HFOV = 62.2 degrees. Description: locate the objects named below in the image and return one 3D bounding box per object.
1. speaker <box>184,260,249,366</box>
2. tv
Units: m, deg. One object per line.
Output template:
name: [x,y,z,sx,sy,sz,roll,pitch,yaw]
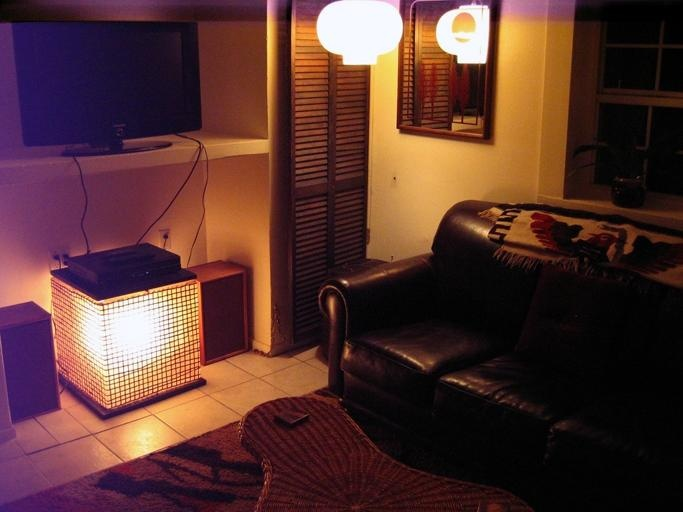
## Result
speaker: [-0.816,0.379,3.672,0.469,0.658,0.345,-19,28,-41]
tv: [-1.304,-0.914,3.062,0.775,0.547,0.219,-11,18,-37]
